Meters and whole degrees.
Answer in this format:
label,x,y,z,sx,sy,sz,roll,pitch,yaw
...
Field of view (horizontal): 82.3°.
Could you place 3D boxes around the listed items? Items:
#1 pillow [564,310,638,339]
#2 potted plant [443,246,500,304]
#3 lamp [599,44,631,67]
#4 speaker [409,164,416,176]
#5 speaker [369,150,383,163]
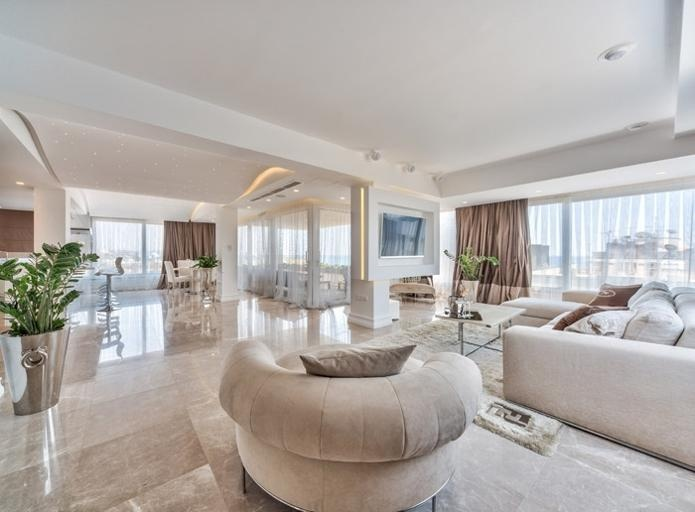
label,x,y,z,sx,sy,sz,roll,pitch,yaw
pillow,2.407,0.617,3.709,0.366,0.107,0.316,-11,5,-44
potted plant,2.509,0.338,7.959,1.038,1.119,0.658,-2,-3,39
lamp,2.497,-1.893,3.723,0.265,0.065,0.204,-1,-3,11
speaker,1.035,-1.393,6.375,0.080,0.089,0.088,3,-2,-18
speaker,0.395,-1.433,5.681,0.109,0.136,0.147,-3,20,-10
